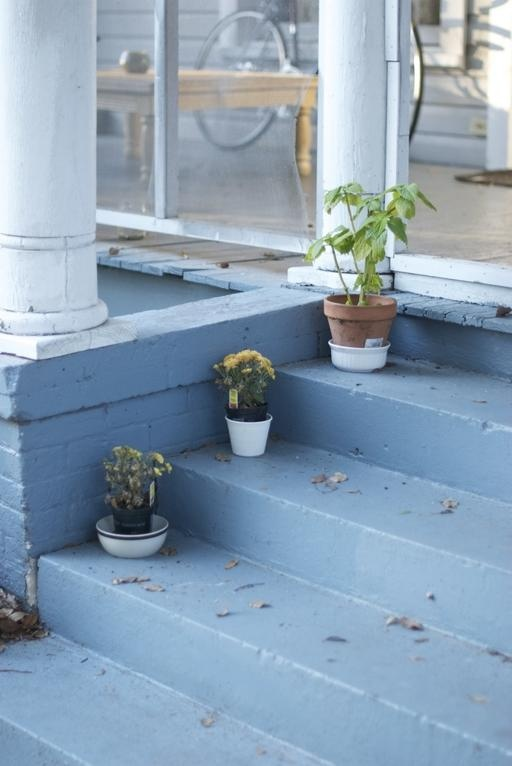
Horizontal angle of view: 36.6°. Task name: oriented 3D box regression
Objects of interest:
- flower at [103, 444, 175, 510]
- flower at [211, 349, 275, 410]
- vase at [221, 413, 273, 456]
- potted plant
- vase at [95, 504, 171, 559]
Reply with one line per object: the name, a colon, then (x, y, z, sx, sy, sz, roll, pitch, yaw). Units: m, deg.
flower: (-0.378, 0.306, 2.311, 0.239, 0.235, 0.179, 4, -32, -16)
flower: (-0.059, -0.029, 2.608, 0.228, 0.209, 0.197, -5, 6, -27)
vase: (-0.024, 0.172, 2.580, 0.136, 0.096, 0.137, 0, 5, -3)
potted plant: (0.429, -0.366, 2.833, 0.512, 0.646, 0.365, 1, 8, 7)
vase: (-0.361, 0.436, 2.240, 0.160, 0.055, 0.151, 0, 7, -2)
